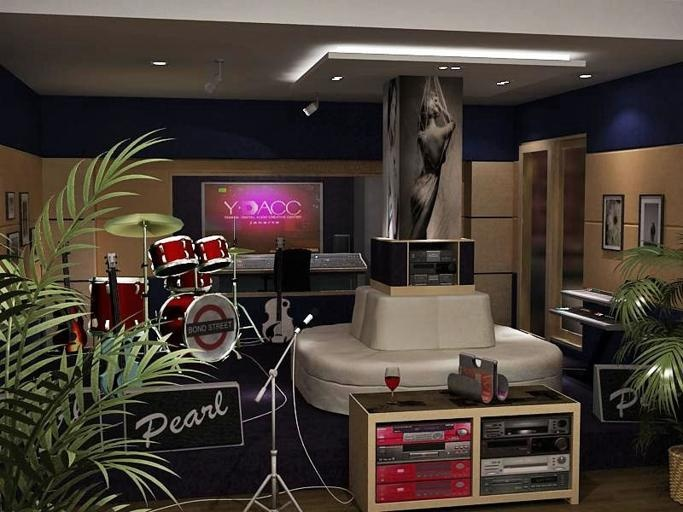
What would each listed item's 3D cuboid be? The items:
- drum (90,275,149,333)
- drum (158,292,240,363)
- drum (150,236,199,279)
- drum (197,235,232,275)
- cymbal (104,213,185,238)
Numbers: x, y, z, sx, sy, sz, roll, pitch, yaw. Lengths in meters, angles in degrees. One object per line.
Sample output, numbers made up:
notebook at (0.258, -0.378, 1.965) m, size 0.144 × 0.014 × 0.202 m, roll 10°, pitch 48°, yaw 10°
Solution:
drum at (-2.110, 0.462, 5.221) m, size 0.586 × 0.571 × 0.586 m, roll 0°, pitch 1°, yaw 1°
drum at (-1.396, 0.702, 5.417) m, size 0.532 × 0.750 × 0.744 m, roll 22°, pitch 21°, yaw 34°
drum at (-1.736, 0.021, 5.784) m, size 0.427 × 0.324 × 0.440 m, roll -15°, pitch -5°, yaw -1°
drum at (-1.420, -0.009, 6.116) m, size 0.380 × 0.406 × 0.307 m, roll -1°, pitch 3°, yaw -21°
cymbal at (-1.925, -0.301, 5.407) m, size 0.691 × 0.229 × 0.411 m, roll -1°, pitch 4°, yaw -21°
